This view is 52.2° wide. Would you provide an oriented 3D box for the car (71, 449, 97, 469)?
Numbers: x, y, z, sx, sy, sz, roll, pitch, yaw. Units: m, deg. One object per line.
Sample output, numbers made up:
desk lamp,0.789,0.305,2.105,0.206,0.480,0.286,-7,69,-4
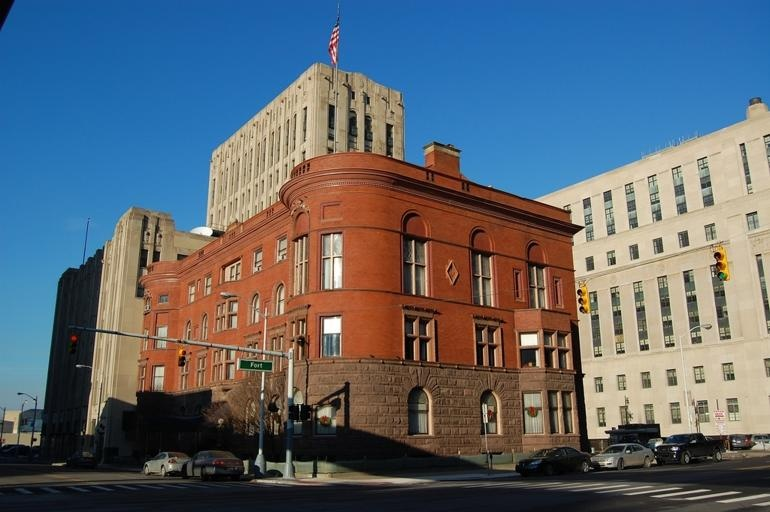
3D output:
car,-33.253,22.381,86.048,1.509,1.158,3.218,13,-18,-42
